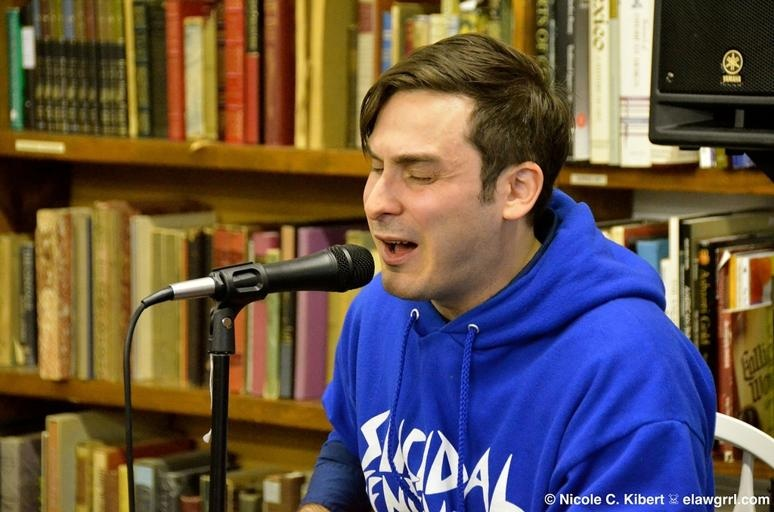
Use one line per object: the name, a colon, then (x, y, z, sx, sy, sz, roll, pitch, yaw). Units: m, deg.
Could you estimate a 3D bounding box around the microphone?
microphone: (-0.236, 0.036, 2.772, 0.362, 0.090, 0.086, -5, 38, -20)
